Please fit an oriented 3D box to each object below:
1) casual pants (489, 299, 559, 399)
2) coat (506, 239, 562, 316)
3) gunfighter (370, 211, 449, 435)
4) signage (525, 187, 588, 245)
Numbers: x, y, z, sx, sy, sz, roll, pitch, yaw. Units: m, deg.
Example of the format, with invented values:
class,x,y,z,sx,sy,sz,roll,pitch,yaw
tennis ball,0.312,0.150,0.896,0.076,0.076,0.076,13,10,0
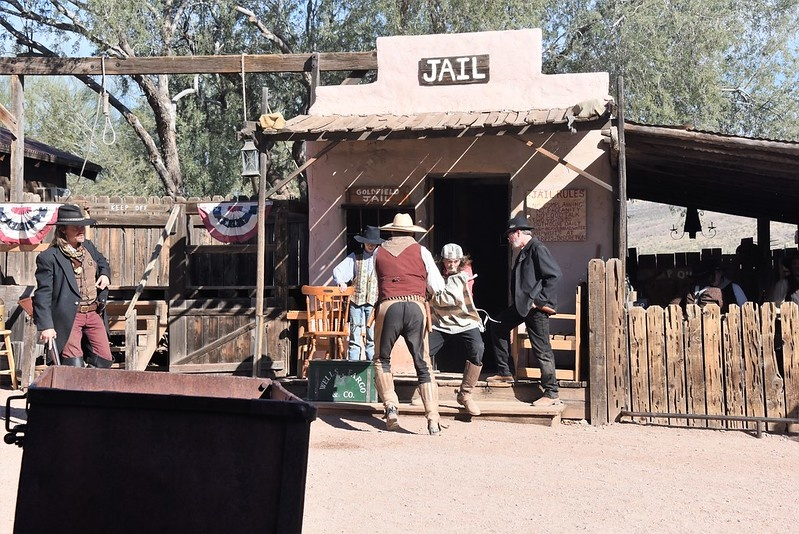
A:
class,x,y,z,sx,sy,sz,roll,pitch,yaw
casual pants,2.375,1.596,21.312,0.737,2.304,1.536,-3,6,-40
coat,2.547,0.231,21.147,0.620,1.317,1.185,7,-7,-13
gunfighter,0.135,1.037,20.381,1.173,3.963,0.588,1,-4,-2
signage,3.161,-0.970,22.491,0.987,0.998,0.117,1,2,12
